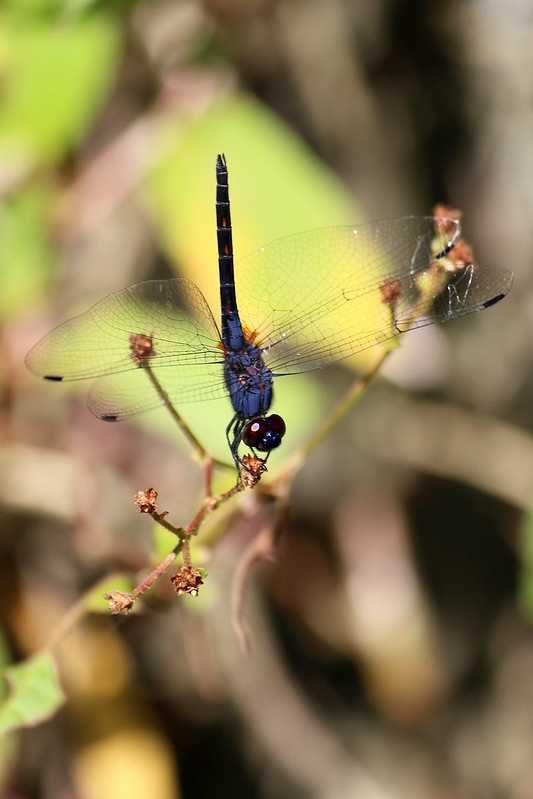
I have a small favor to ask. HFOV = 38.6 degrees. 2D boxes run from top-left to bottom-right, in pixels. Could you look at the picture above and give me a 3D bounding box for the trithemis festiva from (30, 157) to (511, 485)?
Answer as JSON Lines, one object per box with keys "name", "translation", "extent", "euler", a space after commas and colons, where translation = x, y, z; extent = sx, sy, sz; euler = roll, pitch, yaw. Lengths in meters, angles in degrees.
{"name": "trithemis festiva", "translation": [-0.049, -0.115, 1.023], "extent": [0.483, 0.346, 0.202], "euler": [16, 78, -2]}
